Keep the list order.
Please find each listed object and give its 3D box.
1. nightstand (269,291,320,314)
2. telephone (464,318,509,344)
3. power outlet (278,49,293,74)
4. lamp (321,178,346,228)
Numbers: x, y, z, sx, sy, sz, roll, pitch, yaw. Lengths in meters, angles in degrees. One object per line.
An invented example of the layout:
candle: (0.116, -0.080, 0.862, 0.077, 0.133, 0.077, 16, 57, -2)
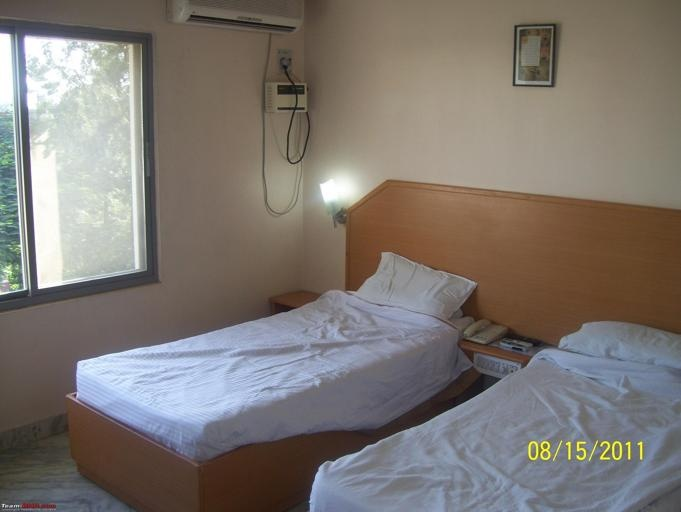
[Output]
nightstand: (-0.413, 0.399, 4.770, 0.260, 0.263, 0.256, -9, 13, -44)
telephone: (1.050, 0.556, 3.765, 0.197, 0.064, 0.201, 2, 11, 43)
power outlet: (-0.484, -1.716, 4.567, 0.167, 0.181, 0.039, -8, 6, -38)
lamp: (-0.061, -0.483, 4.681, 0.203, 0.416, 0.096, -20, 15, 4)
